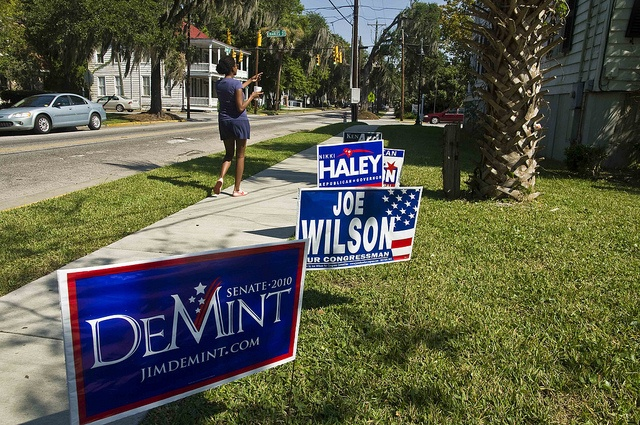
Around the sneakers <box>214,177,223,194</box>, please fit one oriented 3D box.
[{"bbox_3d":[-2.029,-0.519,10.051,0.107,0.306,0.200,13,21,-1],"label":"sneakers"}]

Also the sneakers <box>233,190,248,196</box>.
[{"bbox_3d":[-1.607,-0.383,10.095,0.274,0.130,0.105,-6,20,-26],"label":"sneakers"}]

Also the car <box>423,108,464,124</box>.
[{"bbox_3d":[11.673,-8.894,46.490,1.977,1.648,5.039,-1,16,-15],"label":"car"}]

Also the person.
[{"bbox_3d":[-1.707,-1.678,9.938,0.821,2.692,1.577,0,14,-12],"label":"person"}]
